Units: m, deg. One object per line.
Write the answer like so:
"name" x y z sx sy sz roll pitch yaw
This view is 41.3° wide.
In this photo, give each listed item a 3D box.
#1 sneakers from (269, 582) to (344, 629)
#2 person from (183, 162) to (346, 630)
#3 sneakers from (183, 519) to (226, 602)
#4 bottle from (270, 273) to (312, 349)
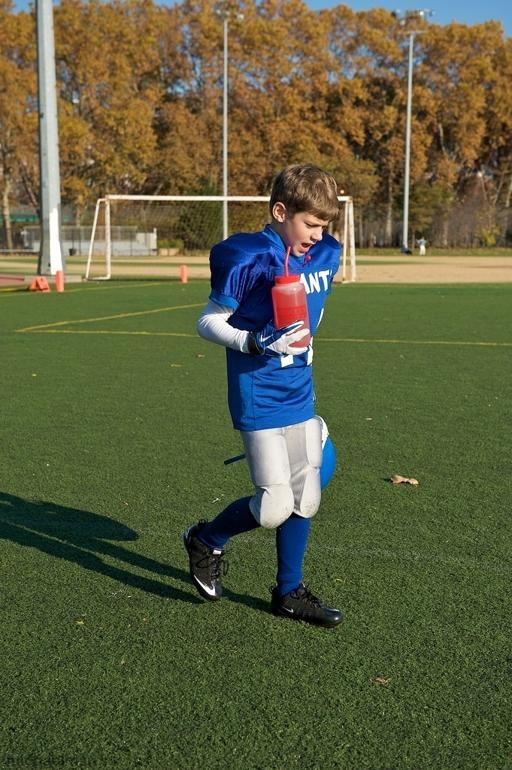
"sneakers" 0.170 0.755 2.342 0.269 0.119 0.097 9 21 17
"person" 0.039 0.060 2.194 0.554 1.511 0.608 -1 9 -7
"sneakers" -0.181 0.638 2.459 0.133 0.291 0.116 -37 -24 27
"bottle" 0.095 -0.231 1.889 0.101 0.151 0.097 0 9 0
